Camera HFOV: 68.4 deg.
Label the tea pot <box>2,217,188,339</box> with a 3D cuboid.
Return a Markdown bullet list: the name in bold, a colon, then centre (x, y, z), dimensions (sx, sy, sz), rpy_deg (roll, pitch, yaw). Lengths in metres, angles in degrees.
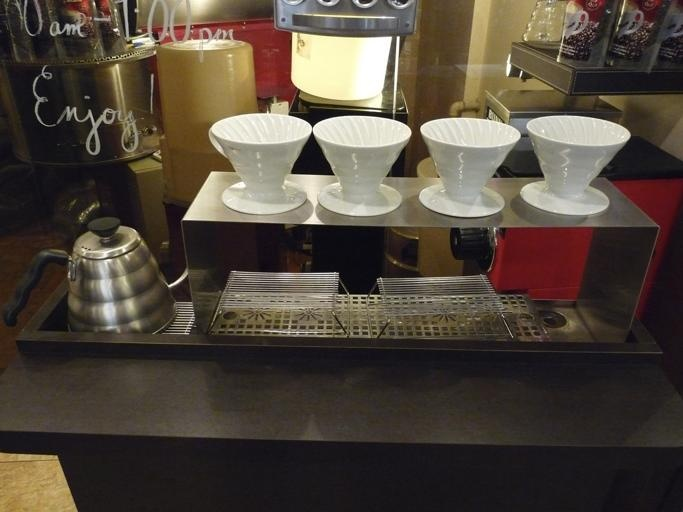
- **tea pot**: centre (-0.491, 0.021, 1.130), dimensions (0.356, 0.251, 0.231), rpy_deg (-7, 29, -17)
